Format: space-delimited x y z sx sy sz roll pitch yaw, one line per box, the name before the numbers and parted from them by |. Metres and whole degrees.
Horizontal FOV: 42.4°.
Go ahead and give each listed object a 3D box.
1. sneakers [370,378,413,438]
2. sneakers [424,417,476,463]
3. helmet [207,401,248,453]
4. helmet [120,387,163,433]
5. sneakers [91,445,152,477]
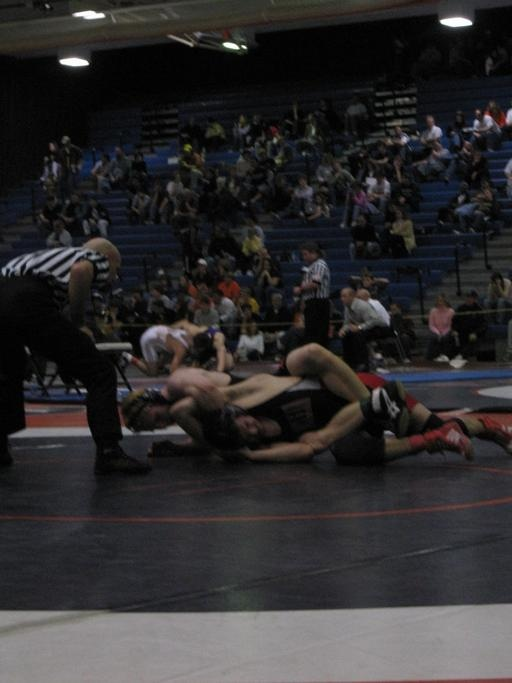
sneakers | 0.686 0.324 3.348 0.173 0.345 0.136 -2 43 18
sneakers | 0.937 0.493 3.252 0.248 0.093 0.220 10 33 -8
helmet | -0.169 0.443 3.494 0.256 0.234 0.200 7 1 -41
helmet | -0.599 0.350 3.493 0.266 0.218 0.188 -1 21 -10
sneakers | -0.692 0.615 3.432 0.365 0.208 0.113 -1 -3 -6
